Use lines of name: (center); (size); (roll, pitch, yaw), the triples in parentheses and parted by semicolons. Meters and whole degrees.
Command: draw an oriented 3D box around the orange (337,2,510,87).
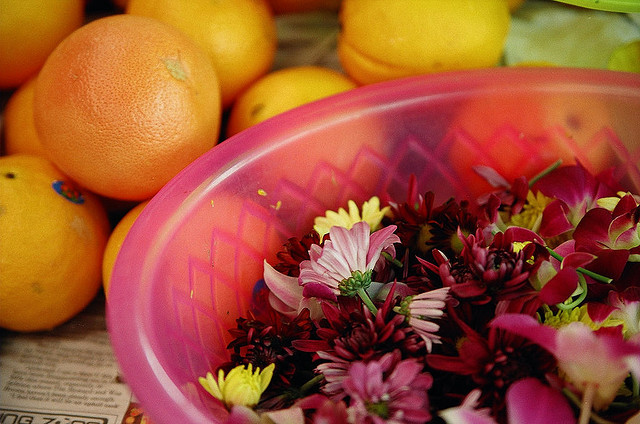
orange: (0.114, -0.175, 0.659); (0.128, 0.116, 0.108); (-3, 18, -1)

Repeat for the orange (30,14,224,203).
orange: (-0.220, -0.119, 0.652); (0.177, 0.194, 0.204); (-1, 73, -31)

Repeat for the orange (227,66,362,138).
orange: (-0.038, -0.134, 0.649); (0.103, 0.069, 0.086); (-8, 48, 11)
